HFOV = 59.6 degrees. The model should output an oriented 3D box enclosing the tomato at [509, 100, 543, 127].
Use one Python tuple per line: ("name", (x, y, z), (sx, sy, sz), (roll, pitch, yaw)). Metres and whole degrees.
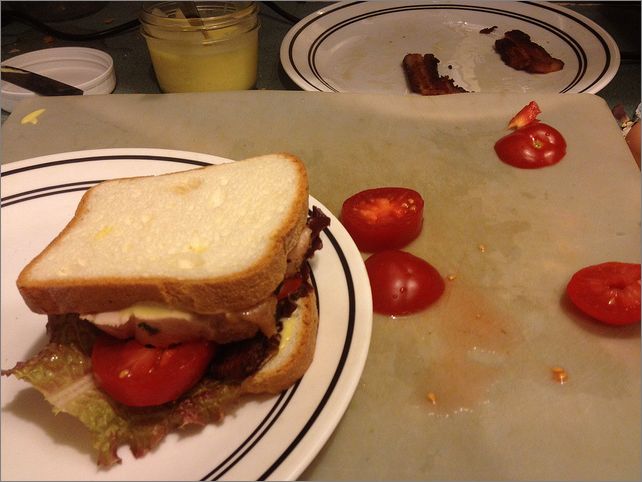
("tomato", (0.770, -0.472, 2.127), (0.130, 0.058, 0.077), (-31, 85, -4))
